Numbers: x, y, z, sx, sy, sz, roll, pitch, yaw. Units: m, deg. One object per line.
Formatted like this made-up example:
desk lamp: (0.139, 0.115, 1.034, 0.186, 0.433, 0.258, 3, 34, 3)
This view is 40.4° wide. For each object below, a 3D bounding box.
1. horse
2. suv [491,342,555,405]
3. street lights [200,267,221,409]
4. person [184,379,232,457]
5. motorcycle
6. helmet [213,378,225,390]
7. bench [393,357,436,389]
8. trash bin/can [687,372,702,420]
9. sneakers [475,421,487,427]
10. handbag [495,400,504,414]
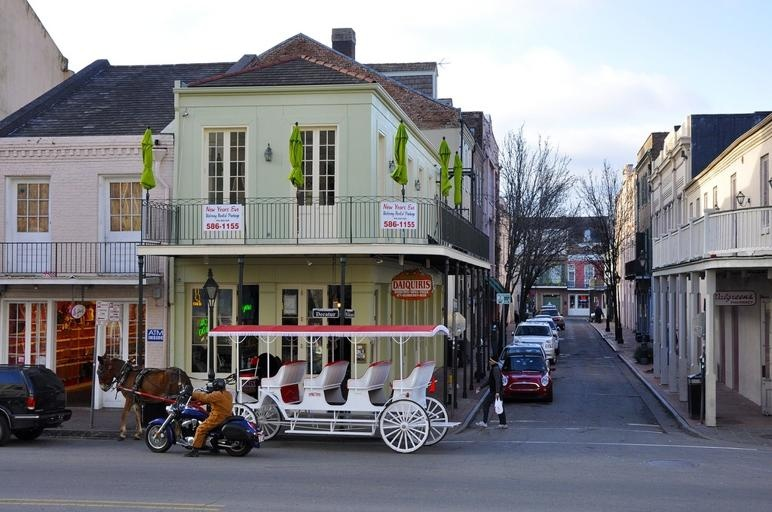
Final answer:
horse: (-7.142, 4.252, 31.509, 3.262, 2.411, 0.942, -2, -9, 10)
suv: (5.324, 4.574, 40.273, 2.113, 1.911, 5.008, 0, -1, 10)
street lights: (-5.597, 2.211, 33.612, 0.585, 3.717, 0.613, -1, 1, -30)
person: (-4.793, 4.443, 28.737, 1.167, 2.107, 0.664, -1, -2, 6)
motorcycle: (-5.150, 4.531, 29.036, 3.280, 2.021, 1.765, 1, 5, 6)
helmet: (-4.567, 3.515, 28.714, 0.284, 0.303, 0.253, -1, -12, -11)
bench: (0.878, 3.431, 30.019, 0.661, 0.777, 1.530, -2, -3, 24)
trash bin/can: (10.141, 4.565, 34.162, 0.370, 1.530, 0.771, -1, -2, 7)
sneakers: (3.091, 5.401, 33.653, 0.125, 0.165, 0.340, 1, 2, -42)
handbag: (3.625, 4.792, 33.349, 0.193, 0.524, 0.409, 0, -2, -8)
